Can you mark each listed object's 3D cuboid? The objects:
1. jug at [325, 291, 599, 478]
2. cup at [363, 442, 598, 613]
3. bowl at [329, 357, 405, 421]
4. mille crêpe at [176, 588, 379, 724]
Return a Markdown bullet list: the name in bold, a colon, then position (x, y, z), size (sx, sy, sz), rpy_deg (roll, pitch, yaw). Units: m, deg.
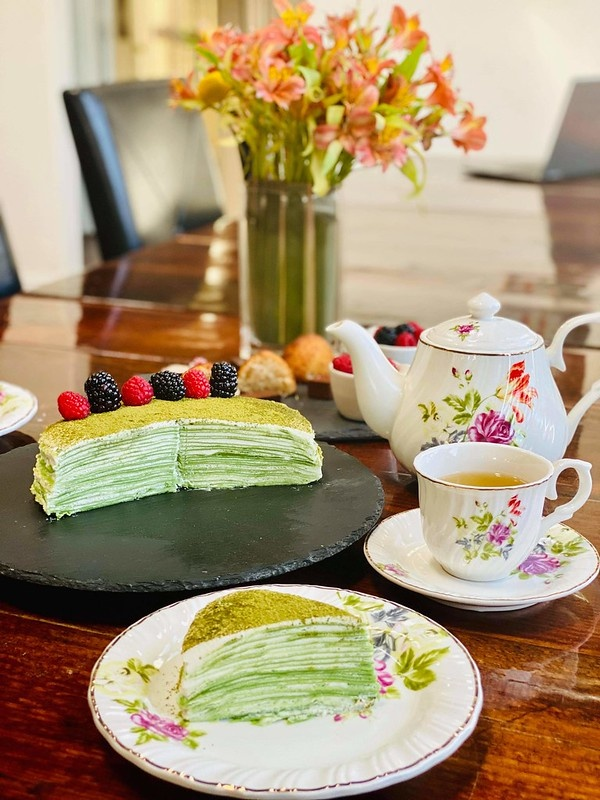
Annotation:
- **jug**: position (0.184, -0.021, 0.958), size (0.426, 0.252, 0.240), rpy_deg (0, 16, 2)
- **cup**: position (0.191, 0.093, 0.745), size (0.203, 0.090, 0.188), rpy_deg (-2, 15, 1)
- **bowl**: position (0.110, -0.018, 1.181), size (0.125, 0.078, 0.113), rpy_deg (-1, 17, -6)
- **mille crêpe**: position (-0.016, 0.180, 0.564), size (0.125, 0.056, 0.081), rpy_deg (1, -5, -16)
